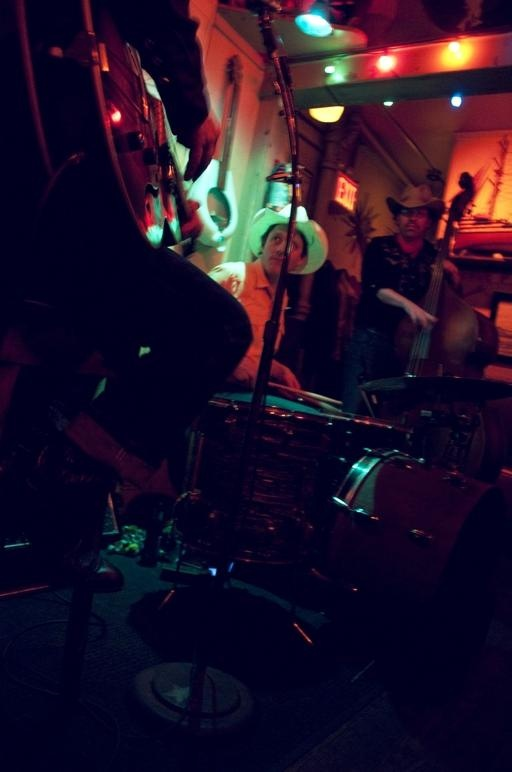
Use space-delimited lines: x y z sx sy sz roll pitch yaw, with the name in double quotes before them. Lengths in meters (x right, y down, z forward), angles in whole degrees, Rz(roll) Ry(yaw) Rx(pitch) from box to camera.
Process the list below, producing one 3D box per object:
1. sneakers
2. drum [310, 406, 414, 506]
"sneakers" -0.232 0.113 0.945 0.055 0.047 0.197 -13 -40 34
"drum" 0.314 0.205 1.833 0.228 0.300 0.104 19 -11 -32
